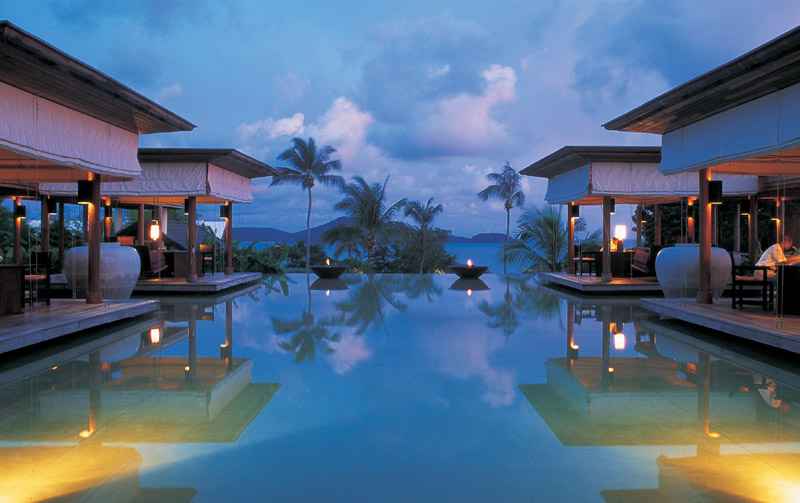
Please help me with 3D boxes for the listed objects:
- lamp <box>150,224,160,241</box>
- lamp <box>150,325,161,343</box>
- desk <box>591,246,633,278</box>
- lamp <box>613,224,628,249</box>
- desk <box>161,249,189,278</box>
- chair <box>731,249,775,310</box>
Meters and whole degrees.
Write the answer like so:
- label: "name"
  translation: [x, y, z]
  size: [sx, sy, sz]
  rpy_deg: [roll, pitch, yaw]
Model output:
- label: "lamp"
  translation: [-6.816, -0.539, 15.034]
  size: [0.266, 0.474, 0.390]
  rpy_deg: [-3, 6, -27]
- label: "lamp"
  translation: [-4.402, 1.516, 9.724]
  size: [0.246, 0.384, 0.235]
  rpy_deg: [1, -1, -16]
- label: "desk"
  translation: [6.303, 0.341, 15.923]
  size: [0.827, 0.644, 0.862]
  rpy_deg: [-2, -2, 13]
- label: "lamp"
  translation: [6.853, -0.476, 16.894]
  size: [0.347, 0.790, 0.359]
  rpy_deg: [1, 6, 18]
- label: "desk"
  translation: [-6.457, 0.377, 15.639]
  size: [0.677, 0.954, 0.921]
  rpy_deg: [2, 2, 13]
- label: "chair"
  translation: [7.105, 0.507, 10.811]
  size: [0.774, 1.210, 0.823]
  rpy_deg: [7, -9, -42]
